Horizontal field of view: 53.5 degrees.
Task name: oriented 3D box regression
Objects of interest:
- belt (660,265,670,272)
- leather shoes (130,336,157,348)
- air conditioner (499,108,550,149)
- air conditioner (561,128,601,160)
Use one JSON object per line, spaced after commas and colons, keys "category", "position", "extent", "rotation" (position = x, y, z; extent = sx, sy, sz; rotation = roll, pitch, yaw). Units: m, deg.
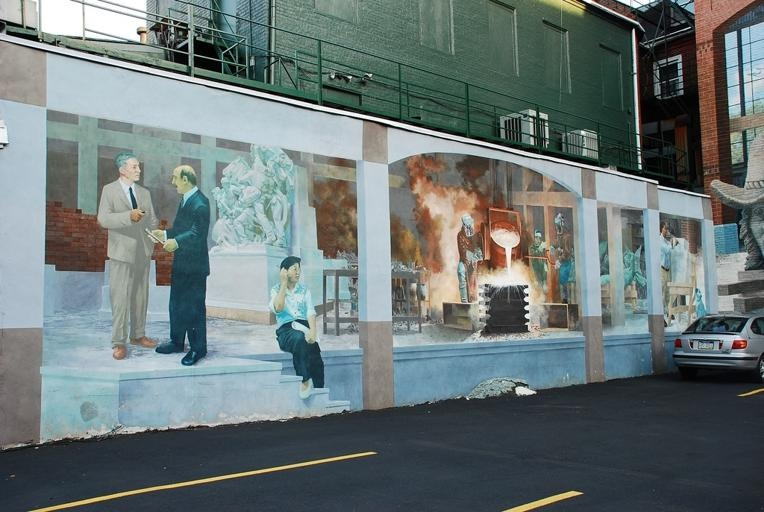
{"category": "belt", "position": [9.666, 0.438, 26.048], "extent": [0.223, 0.246, 0.055], "rotation": [2, 1, -34]}
{"category": "leather shoes", "position": [-4.905, 1.796, 15.693], "extent": [0.388, 0.179, 0.222], "rotation": [0, 3, -15]}
{"category": "air conditioner", "position": [4.531, -4.170, 24.873], "extent": [1.852, 1.504, 1.026], "rotation": [0, 4, -25]}
{"category": "air conditioner", "position": [6.848, -3.913, 26.582], "extent": [1.671, 1.329, 0.970], "rotation": [1, 1, -39]}
